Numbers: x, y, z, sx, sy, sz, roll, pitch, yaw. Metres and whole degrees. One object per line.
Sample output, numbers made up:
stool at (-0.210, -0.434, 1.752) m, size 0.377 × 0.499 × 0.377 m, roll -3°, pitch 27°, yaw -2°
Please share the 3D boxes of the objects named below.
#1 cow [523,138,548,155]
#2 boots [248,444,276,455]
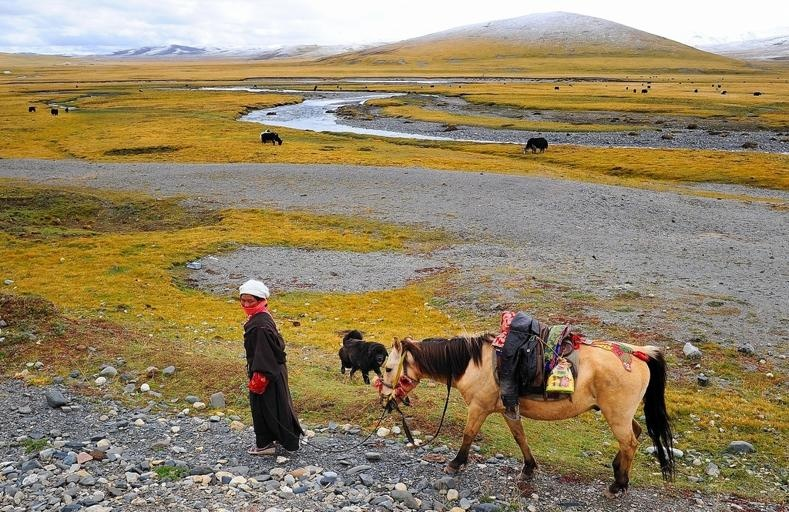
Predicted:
cow at (13.330, -10.720, 55.875) m, size 2.017 × 1.415 × 1.508 m, roll 2°, pitch 21°, yaw 6°
boots at (-3.143, 4.632, 13.998) m, size 0.764 × 0.177 × 0.208 m, roll 2°, pitch 4°, yaw 1°
